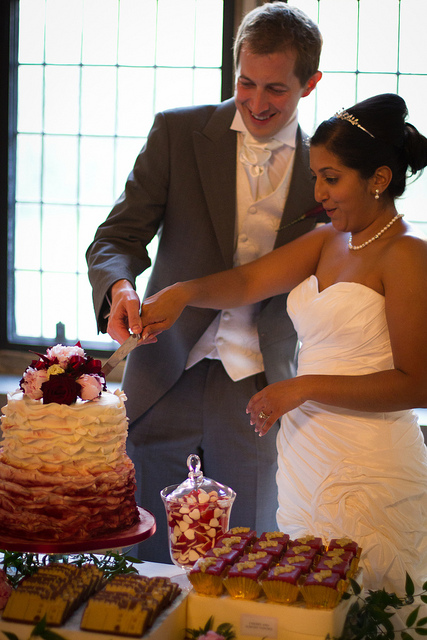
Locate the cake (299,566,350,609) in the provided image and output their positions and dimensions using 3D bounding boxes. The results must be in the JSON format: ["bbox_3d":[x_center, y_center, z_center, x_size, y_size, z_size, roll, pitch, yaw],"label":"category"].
[{"bbox_3d":[0.165,0.410,0.930,0.083,0.036,0.061,3,-12,-14],"label":"cake"}]

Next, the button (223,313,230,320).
[{"bbox_3d":[0.042,-0.013,1.954,0.020,0.021,0.008,-5,10,-16],"label":"button"}]

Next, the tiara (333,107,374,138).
[{"bbox_3d":[0.351,-0.501,1.537,0.121,0.033,0.010,40,17,21],"label":"tiara"}]

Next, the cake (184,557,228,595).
[{"bbox_3d":[-0.011,0.442,1.016,0.079,0.050,0.099,2,-4,5],"label":"cake"}]

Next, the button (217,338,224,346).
[{"bbox_3d":[0.022,0.069,1.978,0.022,0.025,0.006,-3,-1,-11],"label":"button"}]

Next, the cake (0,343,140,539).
[{"bbox_3d":[-0.220,0.276,1.380,0.354,0.343,0.336,0,-9,-1],"label":"cake"}]

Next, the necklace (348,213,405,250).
[{"bbox_3d":[0.425,-0.226,1.627,0.018,0.124,0.098,41,27,-11],"label":"necklace"}]

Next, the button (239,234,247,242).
[{"bbox_3d":[0.096,-0.268,1.967,0.023,0.020,0.005,8,16,5],"label":"button"}]

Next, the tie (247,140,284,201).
[{"bbox_3d":[0.161,-0.483,1.954,0.156,0.214,0.076,-1,26,-4],"label":"tie"}]

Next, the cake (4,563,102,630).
[{"bbox_3d":[-0.252,0.429,0.974,0.082,0.031,0.130,-3,-2,4],"label":"cake"}]

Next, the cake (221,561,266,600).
[{"bbox_3d":[0.047,0.402,0.944,0.052,0.032,0.051,1,-2,1],"label":"cake"}]

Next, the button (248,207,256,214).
[{"bbox_3d":[0.125,-0.350,1.943,0.020,0.020,0.015,-2,10,1],"label":"button"}]
